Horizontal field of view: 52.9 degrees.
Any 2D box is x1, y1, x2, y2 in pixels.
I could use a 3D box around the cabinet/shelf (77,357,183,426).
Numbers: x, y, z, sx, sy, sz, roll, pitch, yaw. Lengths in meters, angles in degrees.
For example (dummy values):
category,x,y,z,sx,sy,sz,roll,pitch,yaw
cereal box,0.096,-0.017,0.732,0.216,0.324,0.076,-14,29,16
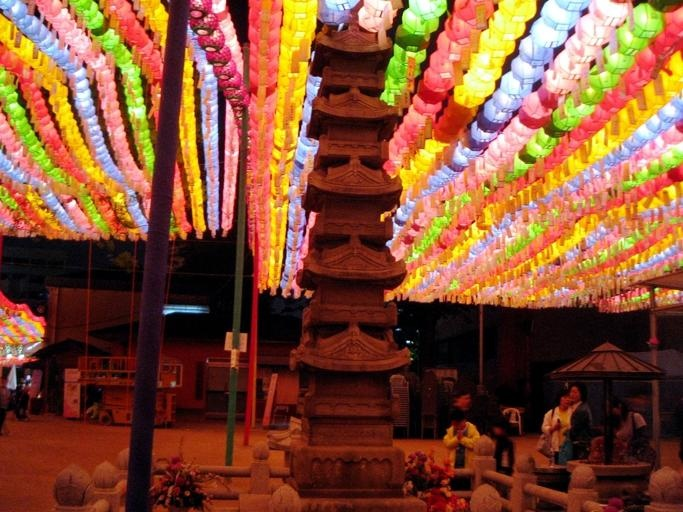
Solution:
category,x,y,z,sx,sy,sz,roll,pitch,yaw
cabinet/shelf,-8.012,5.243,26.746,3.796,2.536,2.233,0,-6,6
